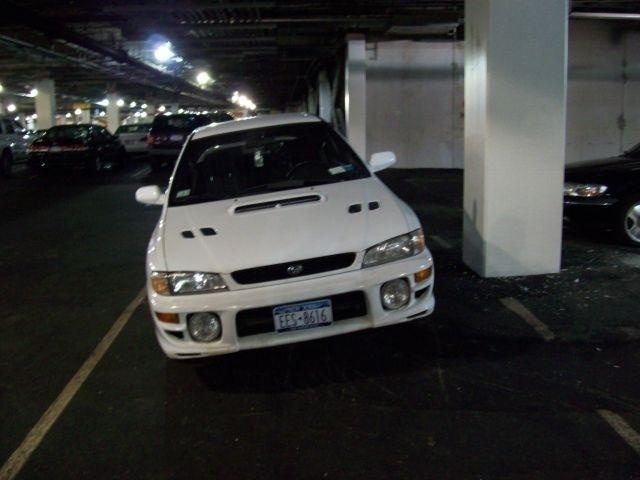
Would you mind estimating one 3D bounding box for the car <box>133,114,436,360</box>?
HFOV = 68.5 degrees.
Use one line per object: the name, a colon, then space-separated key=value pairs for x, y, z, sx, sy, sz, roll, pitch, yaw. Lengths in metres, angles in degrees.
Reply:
car: x=-0.431 y=-0.160 z=4.209 sx=2.199 sy=1.753 sz=2.093 roll=-8 pitch=15 yaw=-21
